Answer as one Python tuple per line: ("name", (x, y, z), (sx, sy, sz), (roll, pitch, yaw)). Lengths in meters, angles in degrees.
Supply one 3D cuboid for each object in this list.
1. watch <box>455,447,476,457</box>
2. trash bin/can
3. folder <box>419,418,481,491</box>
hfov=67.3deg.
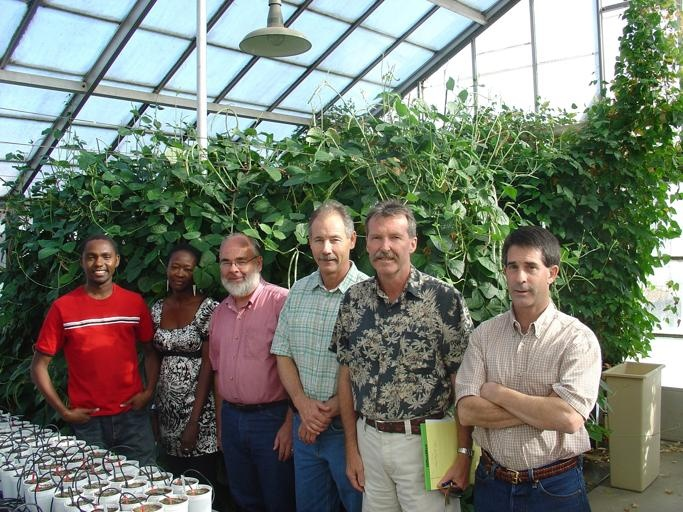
("watch", (0.519, 0.815, 2.138), (0.072, 0.039, 0.069), (0, -24, 34))
("trash bin/can", (2.546, 1.472, 4.472), (0.404, 1.010, 0.656), (-2, -4, 33))
("folder", (0.411, 0.806, 2.090), (0.306, 0.269, 0.072), (5, -4, -40))
